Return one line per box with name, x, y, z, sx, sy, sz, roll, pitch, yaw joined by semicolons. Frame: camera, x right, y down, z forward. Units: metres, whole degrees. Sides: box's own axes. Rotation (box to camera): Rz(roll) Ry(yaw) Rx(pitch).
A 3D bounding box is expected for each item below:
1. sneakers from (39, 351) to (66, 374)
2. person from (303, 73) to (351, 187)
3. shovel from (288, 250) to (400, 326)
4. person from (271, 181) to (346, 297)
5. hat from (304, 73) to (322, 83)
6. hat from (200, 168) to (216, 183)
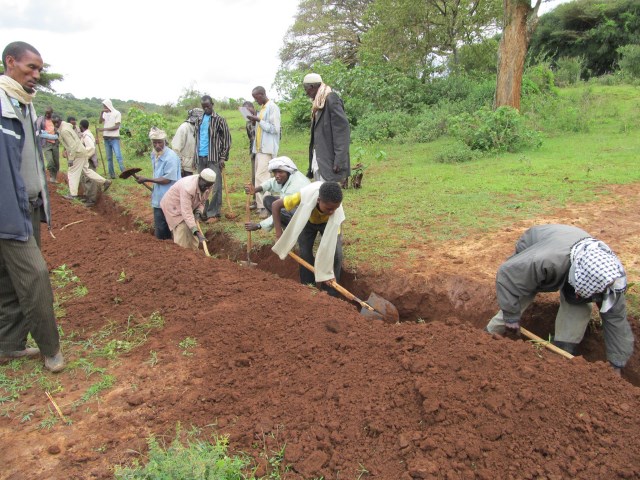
sneakers;-2.562;1.150;5.117;0.233;0.094;0.134;23;33;36
person;0.099;-1.638;7.880;0.381;1.581;0.798;-15;22;-39
shovel;0.440;0.689;6.825;0.537;0.602;1.136;-14;21;-39
person;-0.129;-0.019;6.952;1.077;2.090;1.114;-6;61;-3
hat;-0.089;-2.379;7.798;0.195;0.101;0.191;0;9;3
hat;-1.694;-0.975;8.017;0.195;0.145;0.257;4;20;-38
